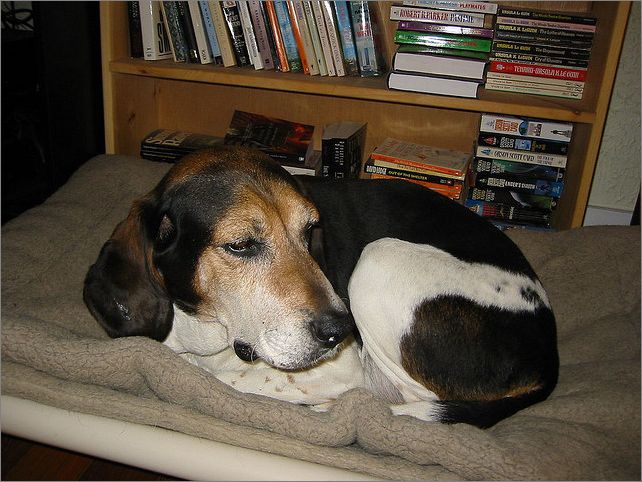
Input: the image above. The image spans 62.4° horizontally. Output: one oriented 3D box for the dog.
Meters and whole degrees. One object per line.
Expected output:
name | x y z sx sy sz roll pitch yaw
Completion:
dog | 0.094 0.181 2.049 1.675 0.604 1.126 11 16 9
